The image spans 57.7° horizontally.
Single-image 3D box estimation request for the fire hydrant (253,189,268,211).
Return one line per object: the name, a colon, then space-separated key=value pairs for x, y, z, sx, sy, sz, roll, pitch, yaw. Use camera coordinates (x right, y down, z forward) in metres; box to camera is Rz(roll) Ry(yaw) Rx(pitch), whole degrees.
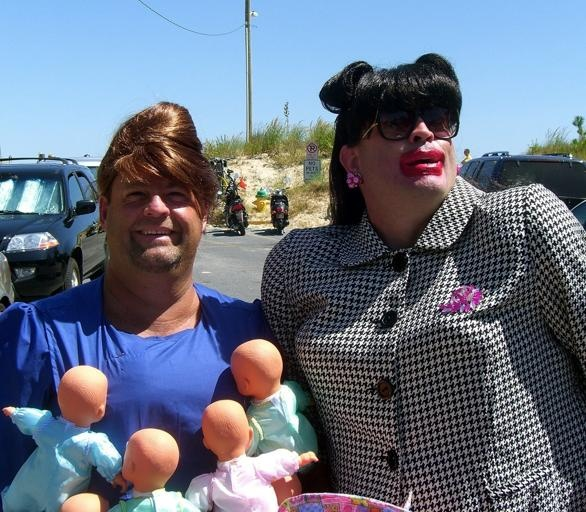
fire hydrant: x=-1.334 y=-2.404 z=22.790 sx=0.652 sy=1.026 sz=0.818 roll=0 pitch=0 yaw=-3
